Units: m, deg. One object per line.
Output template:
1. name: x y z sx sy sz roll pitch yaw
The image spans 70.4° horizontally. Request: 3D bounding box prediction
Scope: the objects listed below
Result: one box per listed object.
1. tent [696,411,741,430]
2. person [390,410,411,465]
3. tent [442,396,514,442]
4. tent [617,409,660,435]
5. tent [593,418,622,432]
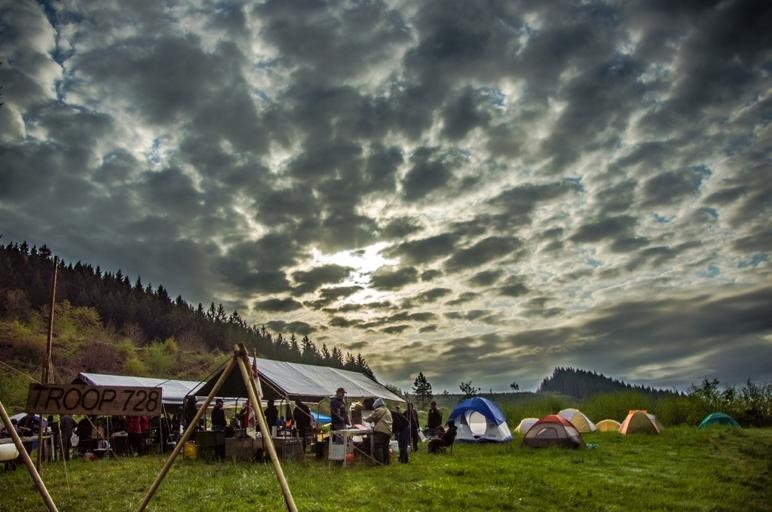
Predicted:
1. tent: 21.837 10.765 35.890 1.976 1.148 4.515 -17 -25 27
2. person: 0.838 9.517 28.939 0.838 2.782 1.464 -4 -21 0
3. tent: 6.381 11.039 36.807 3.634 3.121 1.996 -6 -21 3
4. tent: 18.241 11.764 38.931 2.206 0.895 1.838 -2 -27 -2
5. tent: 17.450 13.335 42.952 1.488 0.538 1.364 20 -28 -37
